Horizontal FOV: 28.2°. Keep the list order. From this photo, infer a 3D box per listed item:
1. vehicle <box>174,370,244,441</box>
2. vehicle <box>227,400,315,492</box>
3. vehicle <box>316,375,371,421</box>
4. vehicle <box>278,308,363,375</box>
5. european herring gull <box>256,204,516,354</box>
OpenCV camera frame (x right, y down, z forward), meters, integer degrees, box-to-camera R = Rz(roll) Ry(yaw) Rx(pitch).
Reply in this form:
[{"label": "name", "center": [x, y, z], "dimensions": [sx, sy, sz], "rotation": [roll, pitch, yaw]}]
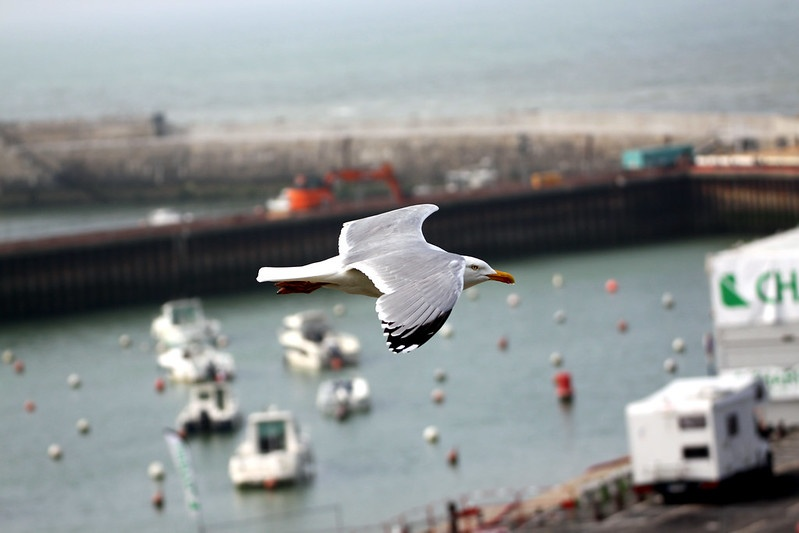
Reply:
[{"label": "vehicle", "center": [-2.901, 2.122, 24.133], "dimensions": [0.981, 0.816, 0.647], "rotation": [-9, 2, -6]}, {"label": "vehicle", "center": [-1.917, 2.690, 23.516], "dimensions": [1.322, 0.505, 1.619], "rotation": [-1, 26, -2]}, {"label": "vehicle", "center": [-0.911, 2.062, 25.081], "dimensions": [1.005, 0.650, 0.625], "rotation": [-9, 2, -23]}, {"label": "vehicle", "center": [-1.283, 1.089, 26.493], "dimensions": [1.137, 0.457, 1.395], "rotation": [-16, 33, -17]}, {"label": "european herring gull", "center": [-0.085, 0.527, 21.319], "dimensions": [2.294, 0.777, 2.726], "rotation": [4, 22, -12]}]
